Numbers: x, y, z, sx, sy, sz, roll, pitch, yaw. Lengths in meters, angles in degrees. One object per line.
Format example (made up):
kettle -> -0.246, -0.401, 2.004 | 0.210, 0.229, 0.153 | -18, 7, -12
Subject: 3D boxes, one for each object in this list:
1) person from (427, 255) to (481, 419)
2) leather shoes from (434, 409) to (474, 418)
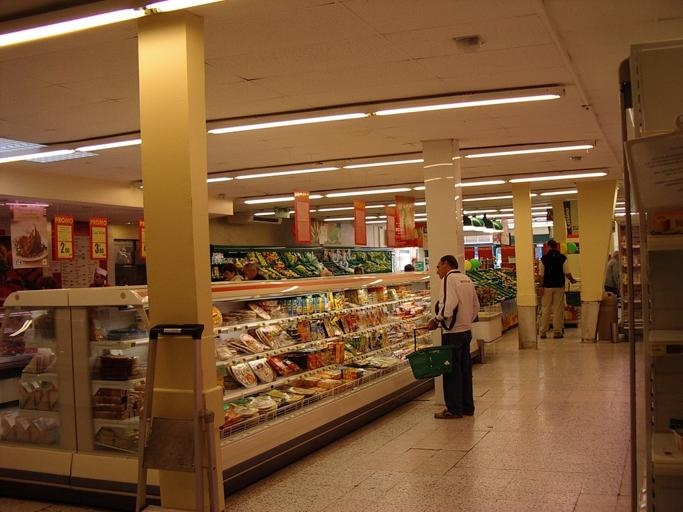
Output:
person -> 1.518, 1.095, 7.149 | 0.624, 1.805, 0.739 | -3, -1, 16
leather shoes -> 1.508, 2.157, 7.109 | 0.506, 0.152, 0.185 | 2, -6, 4
